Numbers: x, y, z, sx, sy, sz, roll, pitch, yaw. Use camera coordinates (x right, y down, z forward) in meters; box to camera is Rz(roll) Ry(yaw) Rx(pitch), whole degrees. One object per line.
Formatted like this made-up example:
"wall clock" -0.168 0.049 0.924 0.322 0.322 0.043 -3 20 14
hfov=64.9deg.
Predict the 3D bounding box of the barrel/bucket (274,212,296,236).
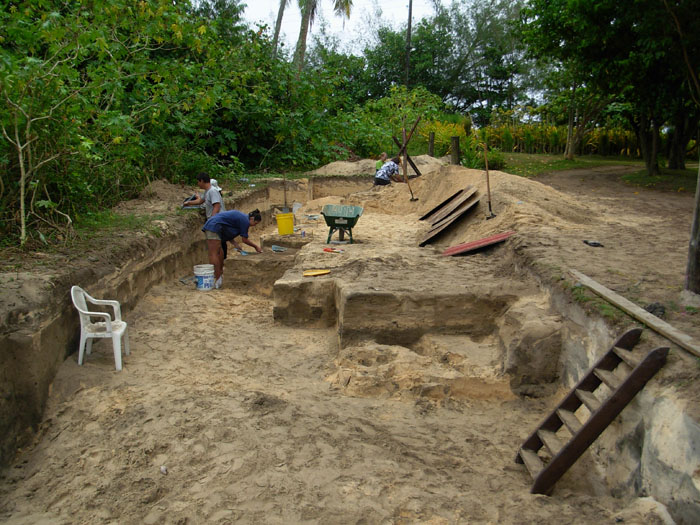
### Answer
"barrel/bucket" -1.324 -0.764 10.887 0.440 0.461 0.441 -1 5 0

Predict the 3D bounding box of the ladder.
"ladder" 2.128 1.313 4.977 1.266 1.303 0.537 -4 13 -16

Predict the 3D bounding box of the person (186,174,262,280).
"person" -2.221 -0.594 9.804 0.820 1.915 1.474 -8 15 -28

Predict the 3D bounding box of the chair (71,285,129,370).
"chair" -2.939 0.772 6.594 0.662 0.912 0.647 7 10 4

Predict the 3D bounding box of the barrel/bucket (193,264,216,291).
"barrel/bucket" -2.499 0.264 9.477 0.388 0.394 0.395 0 5 0
